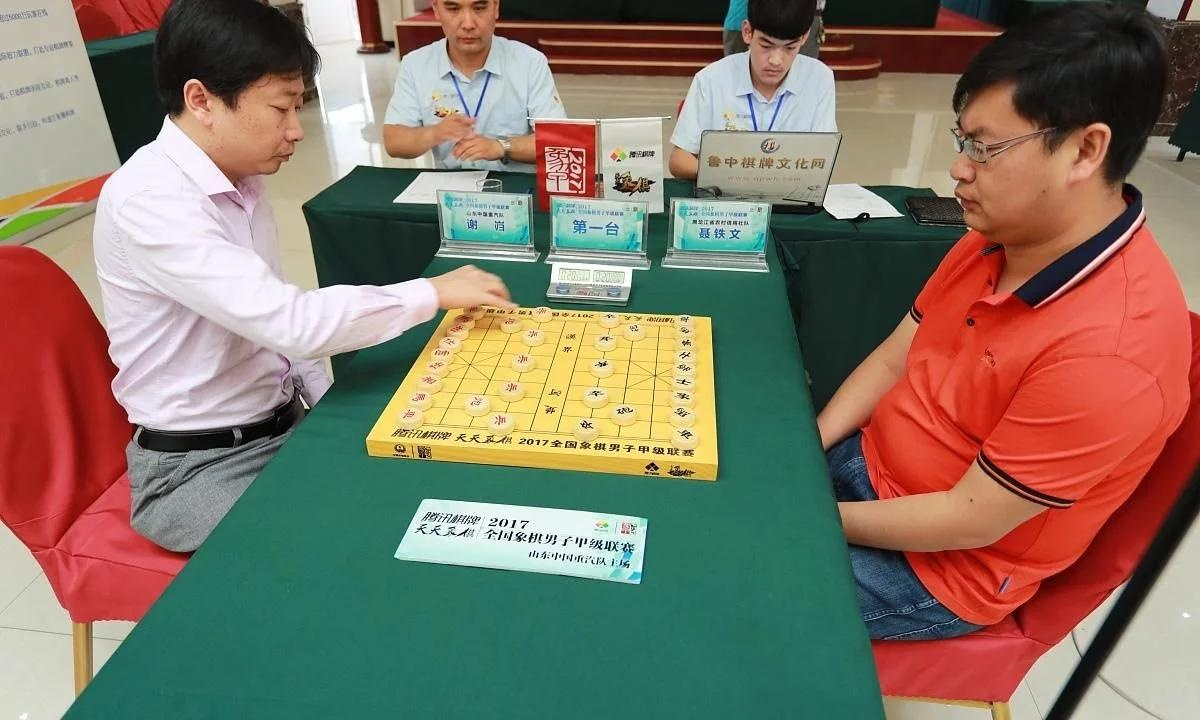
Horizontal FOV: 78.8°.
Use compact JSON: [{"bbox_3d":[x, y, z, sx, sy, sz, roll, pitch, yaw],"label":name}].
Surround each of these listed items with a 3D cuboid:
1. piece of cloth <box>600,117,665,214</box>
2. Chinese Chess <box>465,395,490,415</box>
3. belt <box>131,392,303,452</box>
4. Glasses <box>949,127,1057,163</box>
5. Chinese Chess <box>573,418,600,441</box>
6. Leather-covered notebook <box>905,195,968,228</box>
[{"bbox_3d":[0.102,-0.616,2.311,0.212,0.286,0.044,-2,30,-7],"label":"piece of cloth"},{"bbox_3d":[-0.290,0.106,1.719,0.046,0.017,0.046,28,45,30],"label":"Chinese Chess"},{"bbox_3d":[-1.111,0.138,2.067,0.256,0.142,0.423,9,14,22],"label":"belt"},{"bbox_3d":[0.902,-0.473,1.629,0.125,0.035,0.115,-15,27,-3],"label":"Glasses"},{"bbox_3d":[-0.031,0.161,1.673,0.046,0.017,0.045,13,42,16],"label":"Chinese Chess"},{"bbox_3d":[1.206,-0.533,2.616,0.198,0.038,0.185,1,35,2],"label":"Leather-covered notebook"}]
